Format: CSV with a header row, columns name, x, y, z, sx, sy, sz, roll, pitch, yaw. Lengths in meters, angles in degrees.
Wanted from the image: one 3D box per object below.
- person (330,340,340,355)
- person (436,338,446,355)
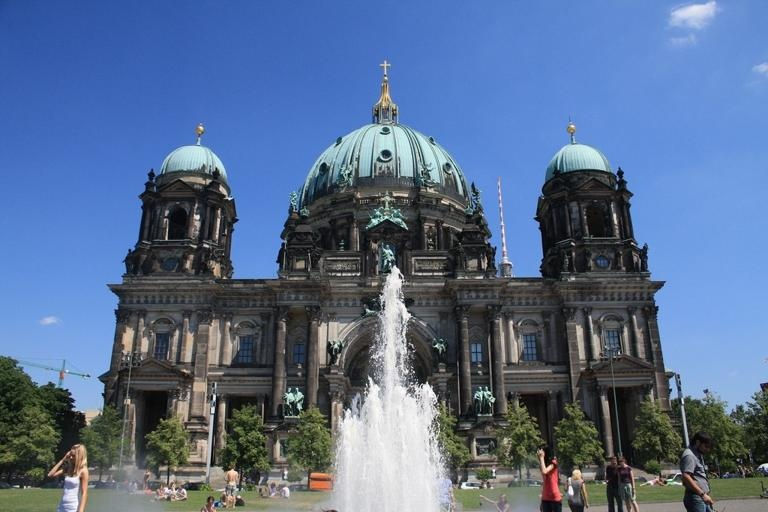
name,x,y,z,sx,sy,sz,roll,pitch,yaw
person,-5.568,10.470,75.454,0.999,1.418,0.781,-3,-19,4
person,6.419,10.375,75.477,1.269,1.640,0.403,1,-19,-8
